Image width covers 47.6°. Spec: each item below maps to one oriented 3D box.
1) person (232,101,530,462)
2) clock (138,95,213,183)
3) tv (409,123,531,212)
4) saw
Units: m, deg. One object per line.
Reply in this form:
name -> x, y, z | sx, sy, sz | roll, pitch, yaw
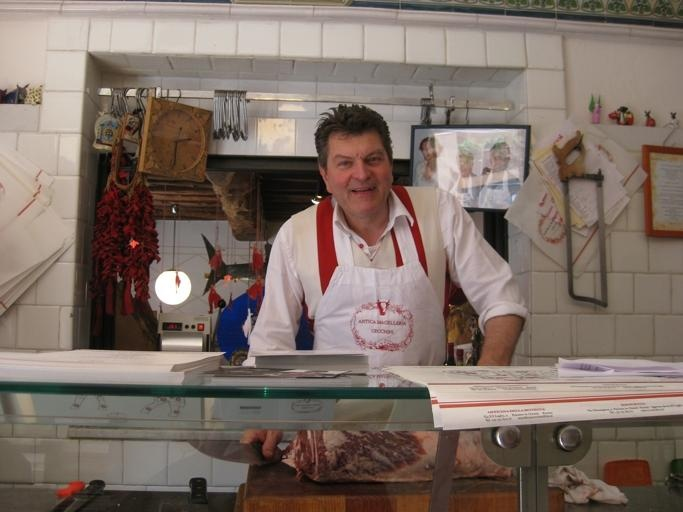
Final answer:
person -> 0.139, -0.003, 2.938 | 1.085, 1.598, 0.896 | -1, 0, -3
clock -> -0.815, -0.576, 3.757 | 0.349, 0.447, 0.052 | 9, -6, -33
tv -> 0.643, -0.426, 3.706 | 0.557, 0.476, 0.074 | 1, 1, -2
saw -> 1.168, -0.178, 3.770 | 0.266, 0.731, 0.142 | -1, 0, 6
